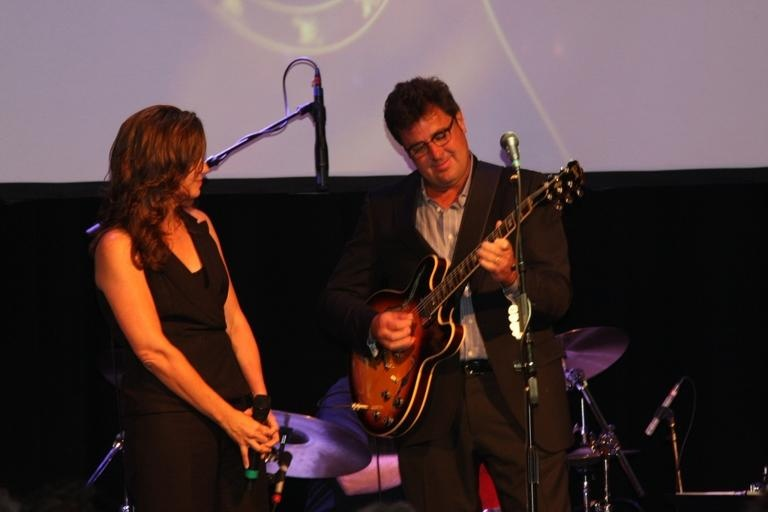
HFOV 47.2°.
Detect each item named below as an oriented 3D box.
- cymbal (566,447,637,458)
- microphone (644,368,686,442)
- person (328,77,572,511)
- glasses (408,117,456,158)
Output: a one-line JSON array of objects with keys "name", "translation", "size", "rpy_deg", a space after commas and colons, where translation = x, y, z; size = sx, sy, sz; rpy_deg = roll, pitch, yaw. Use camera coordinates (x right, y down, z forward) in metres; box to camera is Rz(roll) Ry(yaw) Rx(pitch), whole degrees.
[{"name": "cymbal", "translation": [1.373, 1.272, 5.634], "size": [0.352, 0.052, 0.176], "rpy_deg": [3, -7, -5]}, {"name": "microphone", "translation": [1.823, 0.956, 5.748], "size": [0.098, 0.511, 0.086], "rpy_deg": [26, 15, -28]}, {"name": "person", "translation": [0.378, 0.185, 4.965], "size": [1.290, 2.462, 0.502], "rpy_deg": [0, 0, 34]}, {"name": "glasses", "translation": [0.252, -0.650, 4.985], "size": [0.162, 0.073, 0.283], "rpy_deg": [-29, 11, 37]}]
